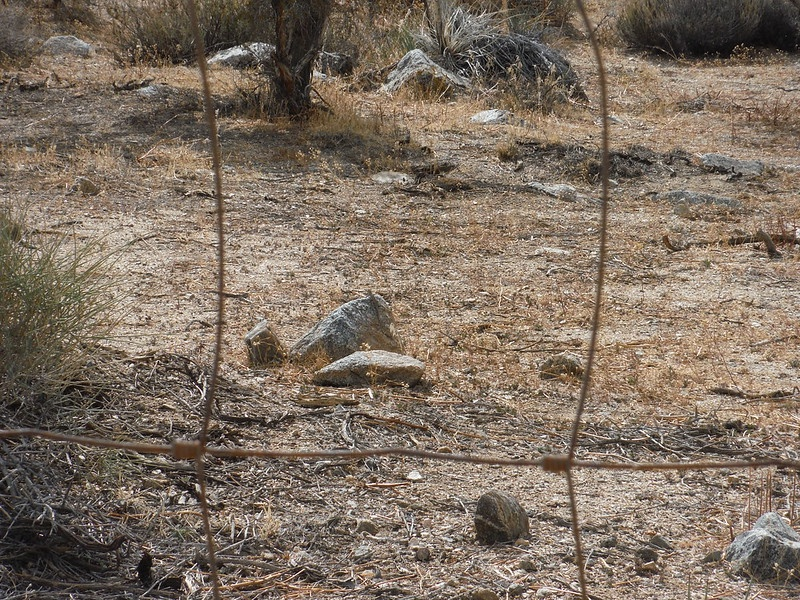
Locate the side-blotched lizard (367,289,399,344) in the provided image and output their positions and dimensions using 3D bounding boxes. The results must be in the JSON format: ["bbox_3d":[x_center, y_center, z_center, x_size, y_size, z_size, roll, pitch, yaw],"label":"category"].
[{"bbox_3d":[-0.121,0.145,9.556,0.235,0.421,0.238,-3,19,-20],"label":"side-blotched lizard"}]
